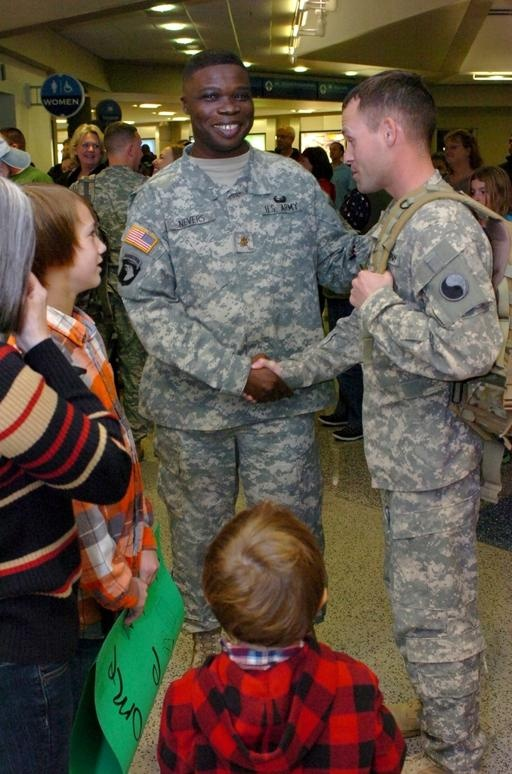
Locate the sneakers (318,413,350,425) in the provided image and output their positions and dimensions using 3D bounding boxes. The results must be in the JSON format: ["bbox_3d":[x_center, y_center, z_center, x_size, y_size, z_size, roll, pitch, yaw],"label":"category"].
[{"bbox_3d":[0.594,0.251,4.479,0.223,0.095,0.081,3,1,6],"label":"sneakers"}]

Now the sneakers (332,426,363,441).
[{"bbox_3d":[0.657,0.339,4.166,0.240,0.100,0.087,3,2,-7],"label":"sneakers"}]
